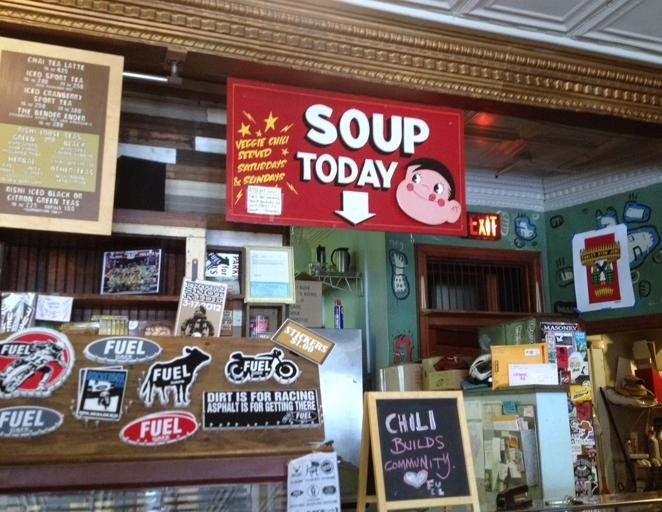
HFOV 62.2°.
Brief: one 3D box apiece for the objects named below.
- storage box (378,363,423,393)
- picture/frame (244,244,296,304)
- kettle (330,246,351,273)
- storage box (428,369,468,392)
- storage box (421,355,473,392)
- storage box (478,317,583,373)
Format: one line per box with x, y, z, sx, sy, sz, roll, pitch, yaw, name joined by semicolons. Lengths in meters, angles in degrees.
0.757;1.354;6.140;0.205;0.326;0.665;7;-11;-28;storage box
-0.378;0.122;3.374;0.340;0.420;0.032;2;-19;-13;picture/frame
0.158;0.074;7.099;0.319;0.370;0.209;-2;-8;6;kettle
1.131;1.227;5.454;0.213;0.201;0.523;7;-11;-30;storage box
1.192;1.183;5.554;0.480;0.311;0.489;4;-5;-22;storage box
1.888;0.937;4.995;0.427;0.546;0.802;4;-10;-18;storage box
